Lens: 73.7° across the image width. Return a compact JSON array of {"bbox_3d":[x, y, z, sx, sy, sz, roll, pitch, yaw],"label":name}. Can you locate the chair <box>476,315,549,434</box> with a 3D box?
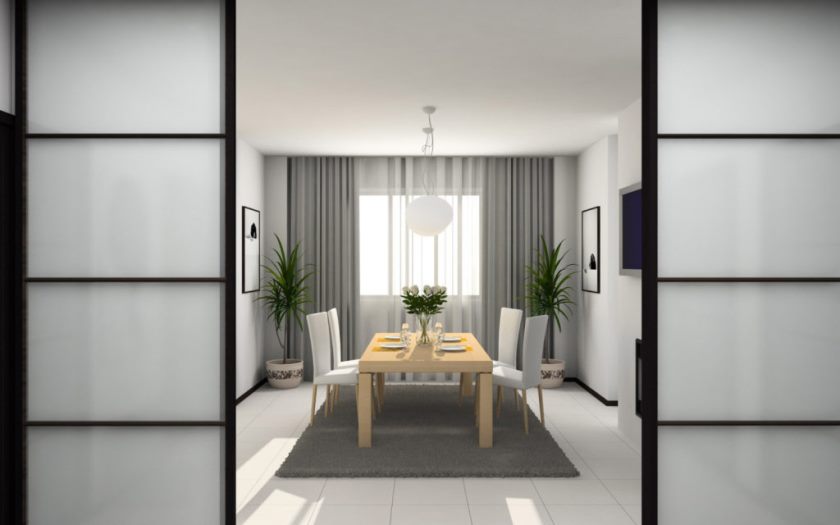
[{"bbox_3d":[0.960,1.097,5.482,0.358,0.721,0.409,14,-5,-16],"label":"chair"}]

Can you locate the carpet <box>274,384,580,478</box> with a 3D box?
[{"bbox_3d":[0.198,1.639,5.704,2.064,0.086,2.366,5,1,-2],"label":"carpet"}]

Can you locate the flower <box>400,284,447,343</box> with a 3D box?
[{"bbox_3d":[0.020,0.531,5.570,0.412,0.582,0.458,5,-15,-18],"label":"flower"}]

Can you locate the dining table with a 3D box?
[{"bbox_3d":[0.059,1.196,5.315,1.180,0.795,0.937,0,6,1],"label":"dining table"}]
